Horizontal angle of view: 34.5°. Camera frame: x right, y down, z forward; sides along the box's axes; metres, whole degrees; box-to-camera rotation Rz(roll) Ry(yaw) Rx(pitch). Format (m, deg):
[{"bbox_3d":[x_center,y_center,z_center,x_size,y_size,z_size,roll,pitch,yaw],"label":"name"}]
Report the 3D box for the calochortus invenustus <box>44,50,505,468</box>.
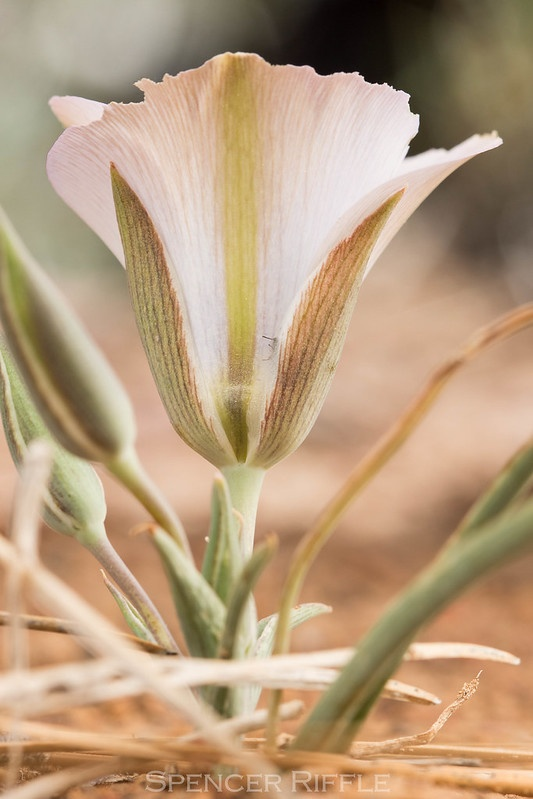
[{"bbox_3d":[0.004,-0.031,0.274,0.118,0.143,0.108,1,69,19],"label":"calochortus invenustus"}]
